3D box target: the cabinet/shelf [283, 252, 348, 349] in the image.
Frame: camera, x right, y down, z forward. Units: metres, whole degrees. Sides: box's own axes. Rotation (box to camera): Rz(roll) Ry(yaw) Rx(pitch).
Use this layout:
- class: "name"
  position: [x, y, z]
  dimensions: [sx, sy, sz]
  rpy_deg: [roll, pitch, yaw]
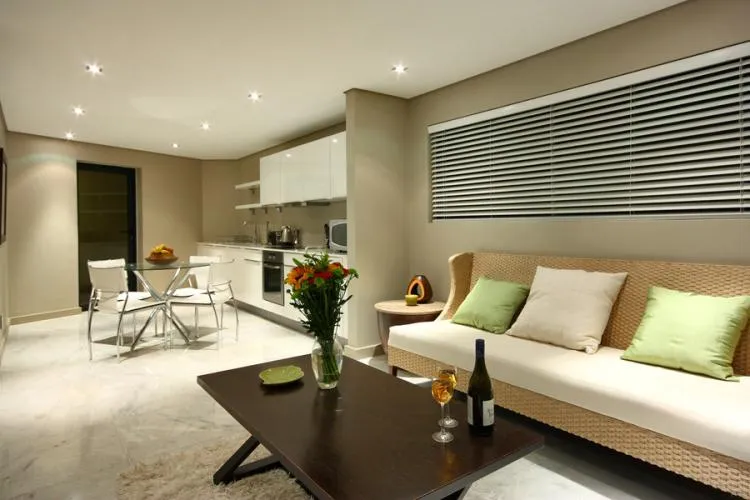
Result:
- class: "cabinet/shelf"
  position: [-0.372, 0.314, 3.148]
  dimensions: [0.463, 0.604, 0.239]
  rpy_deg: [-2, 10, -9]

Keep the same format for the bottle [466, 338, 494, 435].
- class: "bottle"
  position: [0.643, 0.802, 2.752]
  dimensions: [0.166, 0.581, 0.147]
  rpy_deg: [3, 10, 15]

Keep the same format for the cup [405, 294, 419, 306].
- class: "cup"
  position: [0.414, 0.563, 5.093]
  dimensions: [0.116, 0.086, 0.117]
  rpy_deg: [0, -1, 0]

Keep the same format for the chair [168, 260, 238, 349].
- class: "chair"
  position: [-2.414, 0.795, 6.446]
  dimensions: [0.899, 1.506, 1.038]
  rpy_deg: [-2, -9, 9]

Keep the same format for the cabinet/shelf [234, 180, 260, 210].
- class: "cabinet/shelf"
  position: [-2.422, -1.012, 8.748]
  dimensions: [0.383, 0.601, 1.531]
  rpy_deg: [-5, 11, -25]

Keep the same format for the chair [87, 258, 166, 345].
- class: "chair"
  position: [-3.245, 0.680, 5.846]
  dimensions: [0.707, 1.108, 1.324]
  rpy_deg: [-9, 13, -42]

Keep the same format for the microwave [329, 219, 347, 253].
- class: "microwave"
  position: [-0.486, -0.176, 6.080]
  dimensions: [0.239, 0.443, 0.437]
  rpy_deg: [2, -2, -26]
